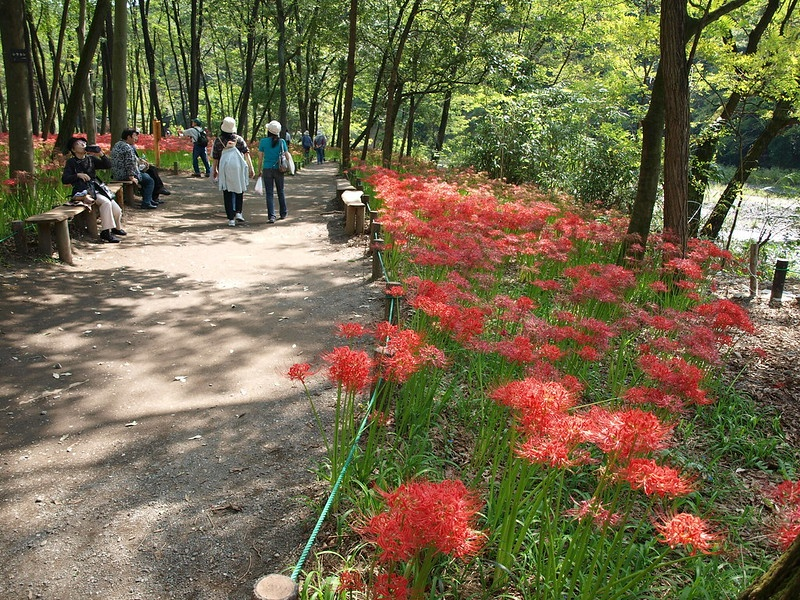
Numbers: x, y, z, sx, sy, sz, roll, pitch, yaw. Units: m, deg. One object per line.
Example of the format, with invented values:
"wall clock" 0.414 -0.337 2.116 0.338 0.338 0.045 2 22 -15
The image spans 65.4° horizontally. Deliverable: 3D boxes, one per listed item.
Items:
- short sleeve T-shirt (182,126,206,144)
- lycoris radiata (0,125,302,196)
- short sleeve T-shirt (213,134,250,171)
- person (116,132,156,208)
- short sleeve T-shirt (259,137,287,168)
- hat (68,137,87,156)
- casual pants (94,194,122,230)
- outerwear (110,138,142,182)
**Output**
"short sleeve T-shirt" -5.276 -4.265 16.126 0.468 0.445 0.739 -4 19 -14
"lycoris radiata" -8.132 -4.411 18.764 5.831 1.451 4.001 -7 14 -20
"short sleeve T-shirt" -3.177 -2.848 11.590 0.618 0.580 0.452 -2 19 -10
"person" -4.967 -2.516 11.780 0.846 1.466 0.650 4 26 -20
"short sleeve T-shirt" -2.418 -2.806 11.808 0.545 0.528 0.299 0 20 -8
"hat" -4.968 -2.387 9.627 0.234 0.283 0.357 -8 21 -26
"casual pants" -4.723 -1.420 10.049 0.305 0.743 0.224 -22 53 -27
"outerwear" -5.083 -2.583 11.531 0.429 0.679 0.753 -24 53 -38
